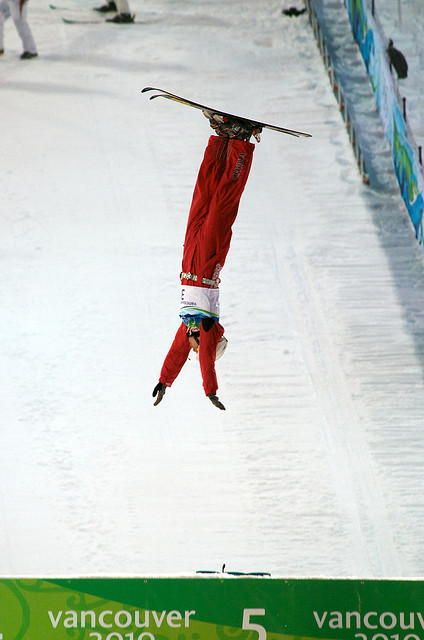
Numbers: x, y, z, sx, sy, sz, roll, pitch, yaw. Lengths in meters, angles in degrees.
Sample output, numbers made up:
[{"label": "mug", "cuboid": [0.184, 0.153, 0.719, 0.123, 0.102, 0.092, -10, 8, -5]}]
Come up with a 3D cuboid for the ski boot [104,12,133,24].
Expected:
[{"label": "ski boot", "cuboid": [-0.733, -2.454, 13.276, 0.145, 0.057, 0.127, -9, 96, -14]}]

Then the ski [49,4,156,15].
[{"label": "ski", "cuboid": [-0.881, -2.526, 13.303, 0.866, 0.066, 0.063, 2, 48, -13]}]

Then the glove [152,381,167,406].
[{"label": "glove", "cuboid": [-0.364, 0.497, 11.460, 0.062, 0.055, 0.195, 18, 58, 23]}]

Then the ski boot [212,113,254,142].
[{"label": "ski boot", "cuboid": [0.143, -1.313, 11.166, 0.295, 0.100, 0.167, -6, 30, -46]}]

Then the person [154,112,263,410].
[{"label": "person", "cuboid": [-0.020, -0.368, 11.267, 0.431, 1.560, 1.403, 10, 47, -1]}]
